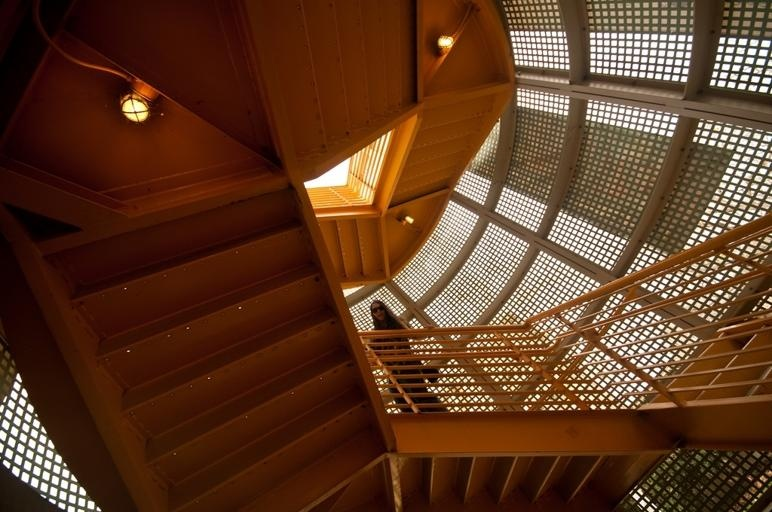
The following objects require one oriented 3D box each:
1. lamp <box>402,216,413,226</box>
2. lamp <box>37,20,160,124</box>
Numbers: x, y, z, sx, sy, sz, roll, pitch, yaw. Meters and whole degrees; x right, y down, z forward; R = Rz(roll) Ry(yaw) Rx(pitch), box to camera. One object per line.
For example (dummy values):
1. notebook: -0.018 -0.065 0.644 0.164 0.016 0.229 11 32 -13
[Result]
1. lamp: 0.485 -0.798 10.998 0.207 0.308 0.160 -3 -101 31
2. lamp: -2.926 -1.840 4.862 0.628 0.235 1.300 -44 -55 16
